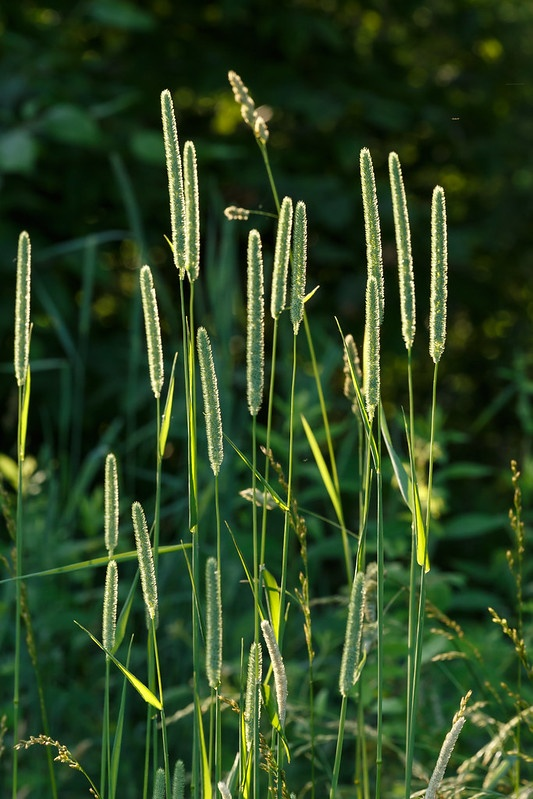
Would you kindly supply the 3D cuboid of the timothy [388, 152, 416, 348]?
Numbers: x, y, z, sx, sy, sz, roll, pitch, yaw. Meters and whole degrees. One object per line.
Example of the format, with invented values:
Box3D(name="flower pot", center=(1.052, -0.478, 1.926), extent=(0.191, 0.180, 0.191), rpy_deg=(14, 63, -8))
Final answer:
Box3D(name="timothy", center=(0.126, -0.132, 1.026), extent=(0.027, 0.236, 0.027), rpy_deg=(-2, 1, 9))
